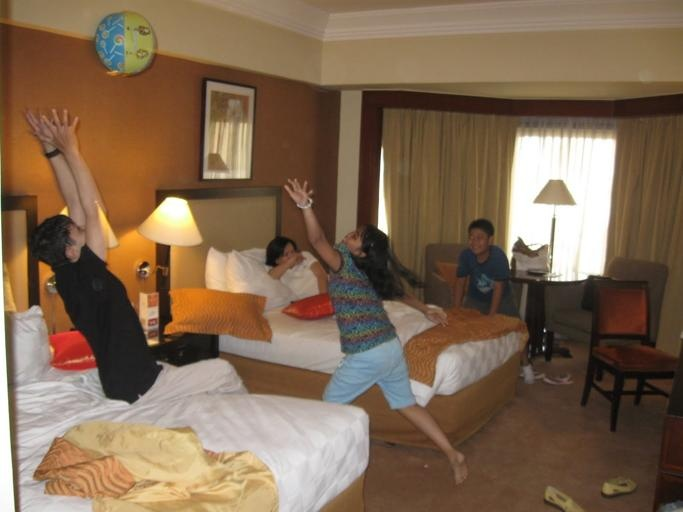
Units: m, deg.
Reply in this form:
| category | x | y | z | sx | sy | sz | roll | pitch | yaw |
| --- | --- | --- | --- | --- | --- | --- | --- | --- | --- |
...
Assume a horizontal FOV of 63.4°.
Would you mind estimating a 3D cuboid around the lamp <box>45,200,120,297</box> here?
| category | x | y | z | sx | sy | sz | roll | pitch | yaw |
| --- | --- | --- | --- | --- | --- | --- | --- | --- | --- |
| lamp | -1.670 | -0.080 | 3.863 | 0.475 | 0.850 | 0.438 | 11 | 11 | 37 |

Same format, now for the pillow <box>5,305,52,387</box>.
| category | x | y | z | sx | sy | sz | roll | pitch | yaw |
| --- | --- | --- | --- | --- | --- | --- | --- | --- | --- |
| pillow | -1.698 | 0.502 | 2.999 | 0.273 | 0.549 | 0.474 | 0 | 6 | -31 |

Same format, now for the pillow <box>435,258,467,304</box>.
| category | x | y | z | sx | sy | sz | roll | pitch | yaw |
| --- | --- | --- | --- | --- | --- | --- | --- | --- | --- |
| pillow | 1.200 | 0.315 | 6.463 | 0.123 | 0.421 | 0.365 | -23 | -2 | -26 |

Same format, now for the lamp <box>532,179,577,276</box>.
| category | x | y | z | sx | sy | sz | roll | pitch | yaw |
| --- | --- | --- | --- | --- | --- | --- | --- | --- | --- |
| lamp | 2.560 | -0.377 | 6.909 | 0.485 | 1.229 | 0.504 | 3 | 8 | 4 |

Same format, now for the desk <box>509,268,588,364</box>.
| category | x | y | z | sx | sy | sz | roll | pitch | yaw |
| --- | --- | --- | --- | --- | --- | --- | --- | --- | --- |
| desk | 2.200 | 0.574 | 6.380 | 0.747 | 1.106 | 0.795 | 2 | 10 | -28 |

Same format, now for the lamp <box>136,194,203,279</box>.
| category | x | y | z | sx | sy | sz | roll | pitch | yaw |
| --- | --- | --- | --- | --- | --- | --- | --- | --- | --- |
| lamp | -1.438 | -0.319 | 4.735 | 0.487 | 0.417 | 0.480 | 1 | 41 | -29 |

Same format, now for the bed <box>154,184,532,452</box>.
| category | x | y | z | sx | sy | sz | roll | pitch | yaw |
| --- | --- | --- | --- | --- | --- | --- | --- | --- | --- |
| bed | 0.210 | 0.269 | 5.141 | 2.728 | 1.918 | 2.022 | 3 | 11 | 20 |

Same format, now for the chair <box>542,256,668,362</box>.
| category | x | y | z | sx | sy | sz | roll | pitch | yaw |
| --- | --- | --- | --- | --- | --- | --- | --- | --- | --- |
| chair | 2.974 | 0.488 | 6.276 | 0.962 | 1.180 | 1.031 | 2 | 6 | -19 |

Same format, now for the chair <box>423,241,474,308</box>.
| category | x | y | z | sx | sy | sz | roll | pitch | yaw |
| --- | --- | --- | --- | --- | --- | --- | --- | --- | --- |
| chair | 1.230 | 0.229 | 6.333 | 0.692 | 0.736 | 0.516 | -1 | 7 | -31 |

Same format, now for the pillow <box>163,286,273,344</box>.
| category | x | y | z | sx | sy | sz | roll | pitch | yaw |
| --- | --- | --- | --- | --- | --- | --- | --- | --- | --- |
| pillow | -1.034 | 0.523 | 4.594 | 0.684 | 0.197 | 0.469 | 9 | 47 | -18 |

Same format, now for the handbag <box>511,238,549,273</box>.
| category | x | y | z | sx | sy | sz | roll | pitch | yaw |
| --- | --- | --- | --- | --- | --- | --- | --- | --- | --- |
| handbag | 2.222 | 0.000 | 6.449 | 0.469 | 0.343 | 0.270 | 5 | 5 | 29 |

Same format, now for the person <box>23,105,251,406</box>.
| category | x | y | z | sx | sy | sz | roll | pitch | yaw |
| --- | --- | --- | --- | --- | --- | --- | --- | --- | --- |
| person | -1.345 | 0.052 | 3.329 | 0.704 | 1.719 | 1.172 | 12 | 10 | 33 |

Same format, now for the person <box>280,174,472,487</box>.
| category | x | y | z | sx | sy | sz | roll | pitch | yaw |
| --- | --- | --- | --- | --- | --- | --- | --- | --- | --- |
| person | 0.191 | 0.511 | 3.741 | 1.091 | 2.109 | 0.496 | -3 | 14 | 6 |
